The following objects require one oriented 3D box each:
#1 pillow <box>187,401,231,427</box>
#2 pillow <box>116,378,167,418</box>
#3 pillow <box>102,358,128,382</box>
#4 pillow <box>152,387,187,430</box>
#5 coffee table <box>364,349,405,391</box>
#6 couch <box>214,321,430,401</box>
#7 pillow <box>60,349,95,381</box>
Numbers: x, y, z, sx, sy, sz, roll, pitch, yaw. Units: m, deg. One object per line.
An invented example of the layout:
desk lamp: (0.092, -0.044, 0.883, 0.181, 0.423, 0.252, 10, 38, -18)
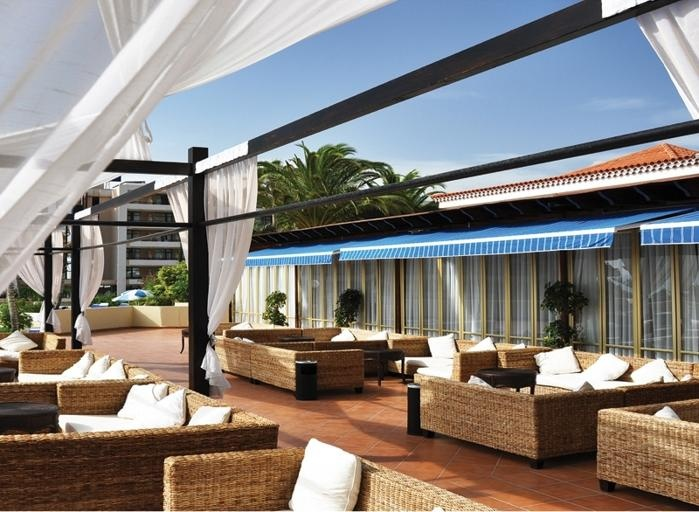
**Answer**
pillow: (-1.445, 1.676, 5.387, 0.506, 0.297, 0.115, -12, -56, 34)
pillow: (-2.765, 1.891, 6.831, 0.679, 0.529, 0.187, -3, -35, 41)
pillow: (-3.915, 1.924, 8.615, 0.303, 0.324, 0.802, 13, -10, -27)
pillow: (-2.111, 1.839, 6.197, 0.495, 0.389, 0.129, -24, -52, 15)
coffee table: (0.678, 2.624, 12.265, 1.233, 0.577, 1.042, -8, -14, 11)
couch: (-1.265, 2.349, 12.121, 3.290, 0.762, 3.215, 2, -1, -44)
pillow: (-5.044, 2.135, 9.842, 0.647, 0.585, 0.188, -5, -47, 49)
